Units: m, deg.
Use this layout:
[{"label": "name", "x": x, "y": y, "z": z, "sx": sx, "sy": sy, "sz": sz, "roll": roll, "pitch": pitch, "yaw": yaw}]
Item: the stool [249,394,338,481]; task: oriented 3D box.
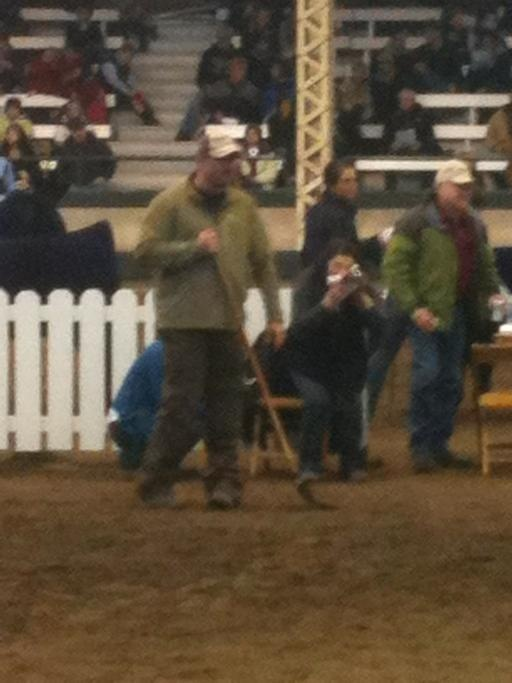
[{"label": "stool", "x": 0.082, "y": 0.427, "z": 5.515, "sx": 0.231, "sy": 0.342, "sz": 0.298, "roll": 1, "pitch": 6, "yaw": 2}]

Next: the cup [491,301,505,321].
[{"label": "cup", "x": 1.150, "y": -0.148, "z": 5.856, "sx": 0.053, "sy": 0.100, "sz": 0.183, "roll": 3, "pitch": 7, "yaw": 16}]

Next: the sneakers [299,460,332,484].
[{"label": "sneakers", "x": 0.278, "y": 0.560, "z": 5.440, "sx": 0.200, "sy": 0.091, "sz": 0.062, "roll": -5, "pitch": 9, "yaw": -43}]
